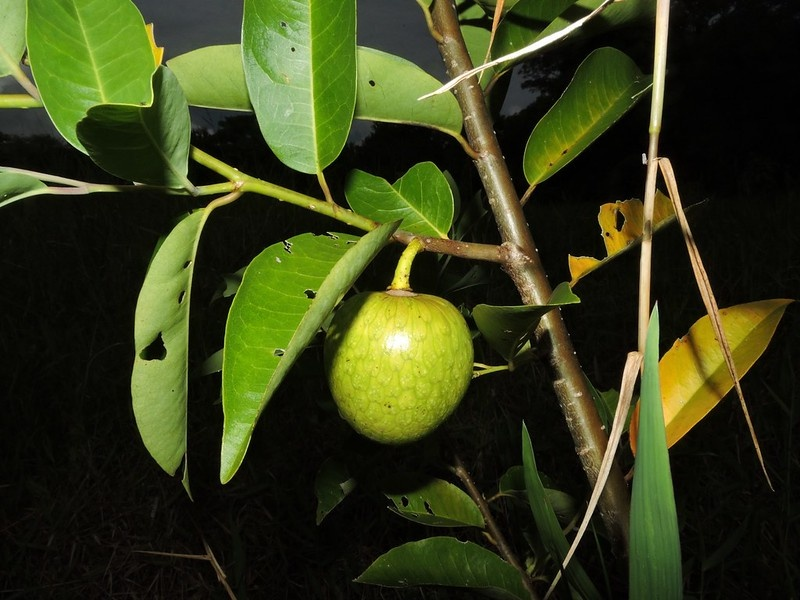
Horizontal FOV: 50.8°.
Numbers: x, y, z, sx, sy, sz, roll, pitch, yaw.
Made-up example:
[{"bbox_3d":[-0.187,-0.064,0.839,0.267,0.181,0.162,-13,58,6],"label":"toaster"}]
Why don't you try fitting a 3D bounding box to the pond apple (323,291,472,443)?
[{"bbox_3d":[-0.006,0.132,1.629,0.262,0.320,0.282,5,18,-13],"label":"pond apple"}]
